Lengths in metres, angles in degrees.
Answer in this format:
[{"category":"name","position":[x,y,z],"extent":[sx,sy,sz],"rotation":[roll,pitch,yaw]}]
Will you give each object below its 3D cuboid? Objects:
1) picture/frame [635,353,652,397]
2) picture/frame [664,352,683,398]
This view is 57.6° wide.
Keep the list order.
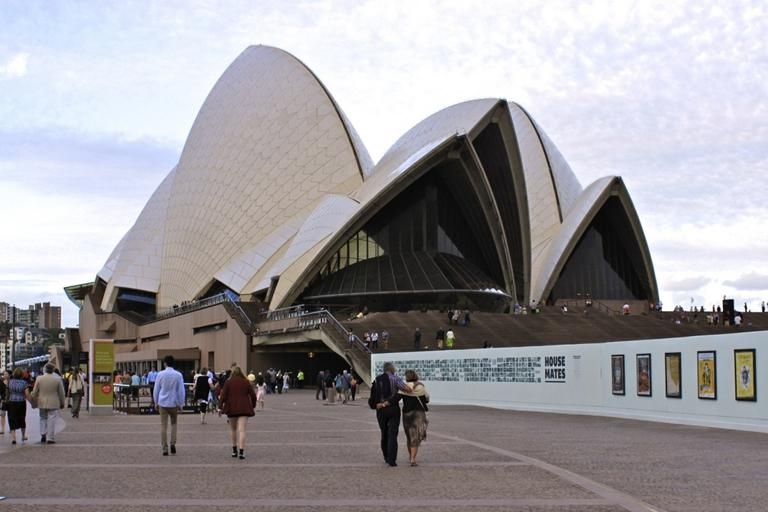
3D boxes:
[{"category":"picture/frame","position":[6.807,3.096,18.242],"extent":[0.100,1.056,0.622],"rotation":[3,-10,-19]},{"category":"picture/frame","position":[7.193,2.955,17.345],"extent":[0.145,1.083,0.625],"rotation":[2,-10,-16]}]
